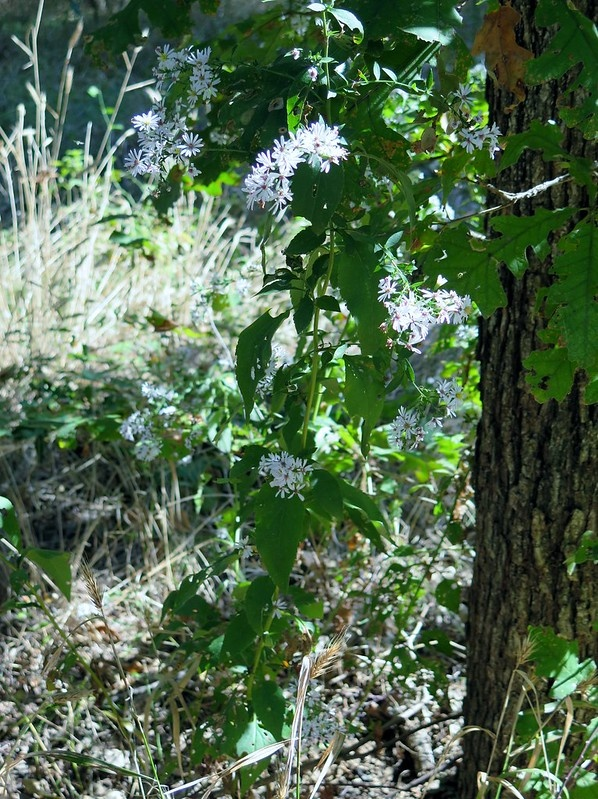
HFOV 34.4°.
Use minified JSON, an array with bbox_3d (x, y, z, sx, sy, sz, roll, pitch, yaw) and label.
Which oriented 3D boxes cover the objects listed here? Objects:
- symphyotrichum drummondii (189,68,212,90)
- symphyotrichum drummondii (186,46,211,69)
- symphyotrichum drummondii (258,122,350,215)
[{"bbox_3d":[-0.171,-0.560,1.701,0.039,0.039,0.030,4,13,-5],"label":"symphyotrichum drummondii"},{"bbox_3d":[-0.184,-0.608,1.723,0.059,0.046,0.014,-6,-12,1],"label":"symphyotrichum drummondii"},{"bbox_3d":[-0.005,-0.376,1.570,0.108,0.175,0.072,41,18,-5],"label":"symphyotrichum drummondii"}]
